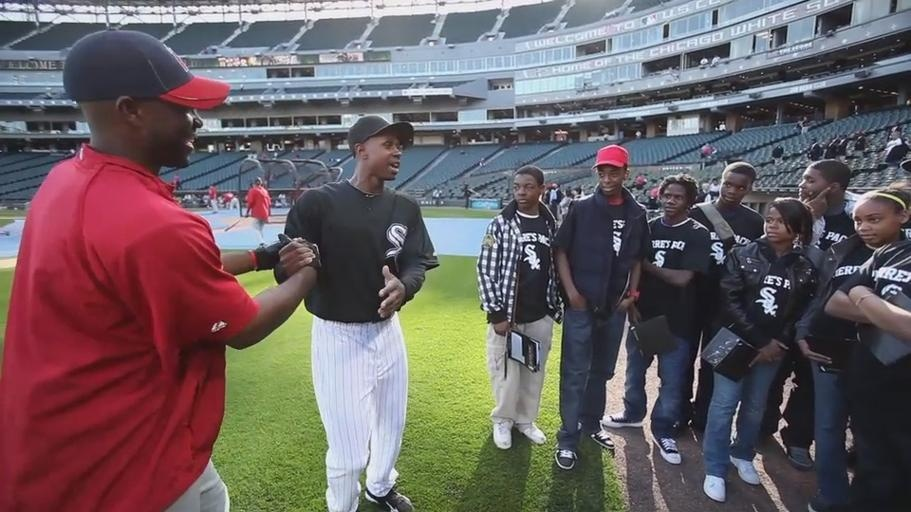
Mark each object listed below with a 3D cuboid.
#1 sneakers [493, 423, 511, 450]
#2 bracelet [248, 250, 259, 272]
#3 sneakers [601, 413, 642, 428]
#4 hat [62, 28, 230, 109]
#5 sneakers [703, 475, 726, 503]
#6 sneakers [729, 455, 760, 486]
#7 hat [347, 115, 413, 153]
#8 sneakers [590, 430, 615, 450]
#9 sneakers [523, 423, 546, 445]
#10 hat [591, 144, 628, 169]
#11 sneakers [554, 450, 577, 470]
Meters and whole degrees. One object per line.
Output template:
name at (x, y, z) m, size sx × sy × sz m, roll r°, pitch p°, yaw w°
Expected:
sneakers at (0.497, 1.915, 6.300) m, size 0.147 × 0.128 × 0.311 m, roll 2°, pitch 2°, yaw -3°
bracelet at (-1.676, 0.035, 4.900) m, size 0.054 × 0.140 × 0.122 m, roll 5°, pitch -20°, yaw -32°
sneakers at (1.854, 1.882, 6.715) m, size 0.491 × 0.175 × 0.174 m, roll 5°, pitch -5°, yaw 10°
hat at (-2.293, -1.372, 4.494) m, size 1.084 × 0.393 × 0.656 m, roll -1°, pitch 16°, yaw -24°
sneakers at (2.603, 2.322, 5.943) m, size 0.210 × 0.214 × 0.166 m, roll 3°, pitch 9°, yaw 24°
sneakers at (2.990, 2.221, 6.196) m, size 0.180 × 0.144 × 0.380 m, roll -9°, pitch 11°, yaw -12°
hat at (-0.703, -1.141, 5.527) m, size 0.539 × 0.263 × 0.331 m, roll -20°, pitch 3°, yaw 5°
sneakers at (1.604, 2.001, 6.468) m, size 0.114 × 0.123 × 0.327 m, roll -2°, pitch 1°, yaw -44°
sneakers at (0.842, 1.926, 6.403) m, size 0.131 × 0.134 × 0.336 m, roll -3°, pitch 5°, yaw -43°
hat at (1.752, -1.126, 6.517) m, size 0.336 × 0.255 × 0.481 m, roll -2°, pitch -3°, yaw 32°
sneakers at (1.148, 2.092, 6.132) m, size 0.245 × 0.177 × 0.167 m, roll 0°, pitch 9°, yaw 3°
